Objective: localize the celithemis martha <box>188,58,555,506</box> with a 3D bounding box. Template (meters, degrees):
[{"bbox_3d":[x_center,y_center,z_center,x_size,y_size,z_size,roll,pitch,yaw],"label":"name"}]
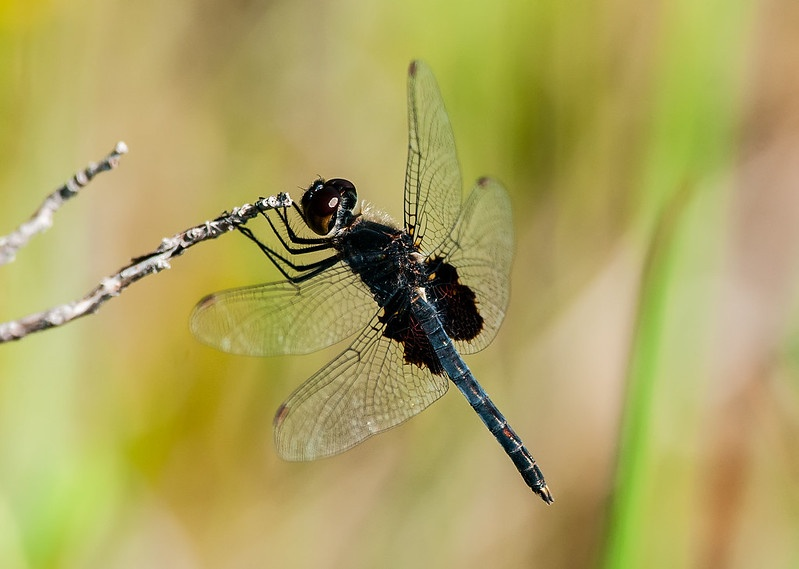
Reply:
[{"bbox_3d":[0.119,0.010,2.832,1.270,0.411,1.371,28,64,8],"label":"celithemis martha"}]
